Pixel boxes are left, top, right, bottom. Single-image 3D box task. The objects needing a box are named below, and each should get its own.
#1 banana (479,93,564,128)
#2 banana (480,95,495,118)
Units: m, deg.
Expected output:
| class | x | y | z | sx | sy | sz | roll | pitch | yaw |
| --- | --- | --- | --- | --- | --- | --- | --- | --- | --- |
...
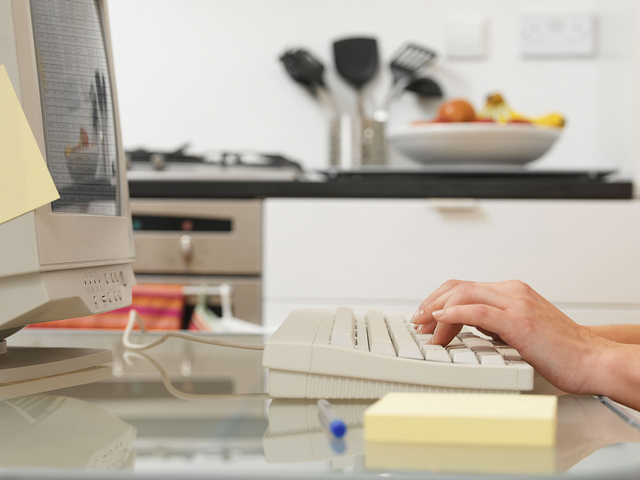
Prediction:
| class | x | y | z | sx | sy | sz | roll | pitch | yaw |
| --- | --- | --- | --- | --- | --- | --- | --- | --- | --- |
| banana | 0.562 | -0.364 | 1.664 | 0.218 | 0.090 | 0.153 | 9 | 1 | 8 |
| banana | 0.497 | -0.393 | 1.715 | 0.034 | 0.062 | 0.064 | -2 | 14 | 5 |
